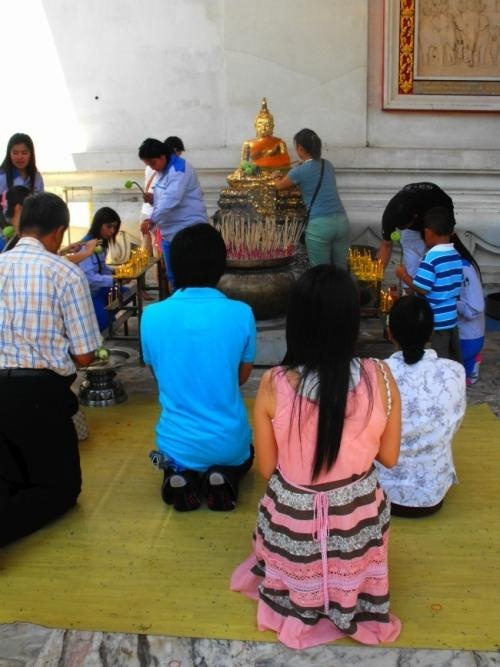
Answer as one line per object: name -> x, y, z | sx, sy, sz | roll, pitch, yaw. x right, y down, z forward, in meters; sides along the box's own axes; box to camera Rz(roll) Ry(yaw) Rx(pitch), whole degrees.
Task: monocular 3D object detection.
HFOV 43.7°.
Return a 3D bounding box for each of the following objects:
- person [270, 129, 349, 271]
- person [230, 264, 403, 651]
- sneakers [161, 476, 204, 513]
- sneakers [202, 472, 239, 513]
person -> 0.464, -0.893, 4.209 | 0.449, 0.909, 0.328 | -3, 16, -6
person -> 0.184, 0.286, 1.480 | 0.358, 0.899, 0.262 | -2, 16, -1
sneakers -> -0.233, 0.535, 2.079 | 0.100, 0.161, 0.062 | -2, 58, 4
sneakers -> -0.096, 0.526, 2.080 | 0.086, 0.160, 0.165 | -1, 4, 4
